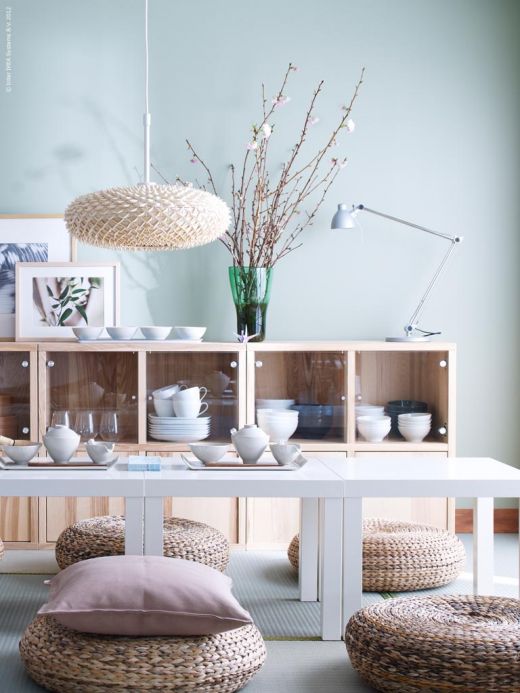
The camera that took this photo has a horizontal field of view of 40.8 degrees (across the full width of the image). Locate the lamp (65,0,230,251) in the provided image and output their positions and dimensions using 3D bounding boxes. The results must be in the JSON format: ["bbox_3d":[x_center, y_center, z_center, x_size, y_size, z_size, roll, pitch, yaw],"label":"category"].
[{"bbox_3d":[-0.340,-0.496,2.055,0.453,0.382,0.351,0,-3,17],"label":"lamp"}]

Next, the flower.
[{"bbox_3d":[-0.296,-0.811,4.328,1.319,1.682,1.101,3,2,-29],"label":"flower"}]

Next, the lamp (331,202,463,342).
[{"bbox_3d":[0.696,-0.380,3.540,0.684,0.724,0.371,1,-3,2],"label":"lamp"}]

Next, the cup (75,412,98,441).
[{"bbox_3d":[-0.616,0.287,2.458,0.061,0.100,0.099,1,-3,4],"label":"cup"}]

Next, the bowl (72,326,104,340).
[{"bbox_3d":[-0.831,-0.059,3.381,0.133,0.072,0.211,1,-3,-12],"label":"bowl"}]

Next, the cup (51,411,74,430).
[{"bbox_3d":[-0.677,0.251,2.398,0.075,0.064,0.073,0,-3,0],"label":"cup"}]

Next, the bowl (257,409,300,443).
[{"bbox_3d":[0.087,0.364,3.208,0.173,0.124,0.173,0,-6,0],"label":"bowl"}]

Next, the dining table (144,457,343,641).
[{"bbox_3d":[-0.018,0.577,2.271,0.632,0.414,0.567,0,-6,1],"label":"dining table"}]

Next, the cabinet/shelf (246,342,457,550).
[{"bbox_3d":[0.350,0.407,2.894,1.058,0.877,0.336,-1,-1,-3],"label":"cabinet/shelf"}]

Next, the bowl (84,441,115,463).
[{"bbox_3d":[-0.526,0.349,2.308,0.072,0.049,0.078,-1,-5,0],"label":"bowl"}]

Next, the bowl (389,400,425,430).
[{"bbox_3d":[0.692,0.327,3.313,0.156,0.094,0.156,1,-5,0],"label":"bowl"}]

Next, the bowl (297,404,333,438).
[{"bbox_3d":[0.260,0.348,3.302,0.270,0.174,0.138,0,-5,-4],"label":"bowl"}]

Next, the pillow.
[{"bbox_3d":[-0.302,0.640,1.792,0.523,0.155,0.339,1,-3,-6],"label":"pillow"}]

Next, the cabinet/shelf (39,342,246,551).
[{"bbox_3d":[-0.485,0.412,2.794,1.050,0.871,0.298,-1,-2,-3],"label":"cabinet/shelf"}]

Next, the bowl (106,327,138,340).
[{"bbox_3d":[-0.661,-0.061,3.308,0.128,0.068,0.093,1,-3,-13],"label":"bowl"}]

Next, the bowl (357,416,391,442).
[{"bbox_3d":[0.538,0.389,3.265,0.138,0.089,0.134,0,-8,0],"label":"bowl"}]

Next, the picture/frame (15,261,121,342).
[{"bbox_3d":[-0.963,-0.223,3.419,0.442,0.326,0.040,-1,-3,-7],"label":"picture/frame"}]

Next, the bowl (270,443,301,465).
[{"bbox_3d":[0.075,0.346,2.258,0.082,0.050,0.078,1,-9,0],"label":"bowl"}]

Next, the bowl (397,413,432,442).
[{"bbox_3d":[0.740,0.391,3.336,0.143,0.099,0.144,0,-5,0],"label":"bowl"}]
